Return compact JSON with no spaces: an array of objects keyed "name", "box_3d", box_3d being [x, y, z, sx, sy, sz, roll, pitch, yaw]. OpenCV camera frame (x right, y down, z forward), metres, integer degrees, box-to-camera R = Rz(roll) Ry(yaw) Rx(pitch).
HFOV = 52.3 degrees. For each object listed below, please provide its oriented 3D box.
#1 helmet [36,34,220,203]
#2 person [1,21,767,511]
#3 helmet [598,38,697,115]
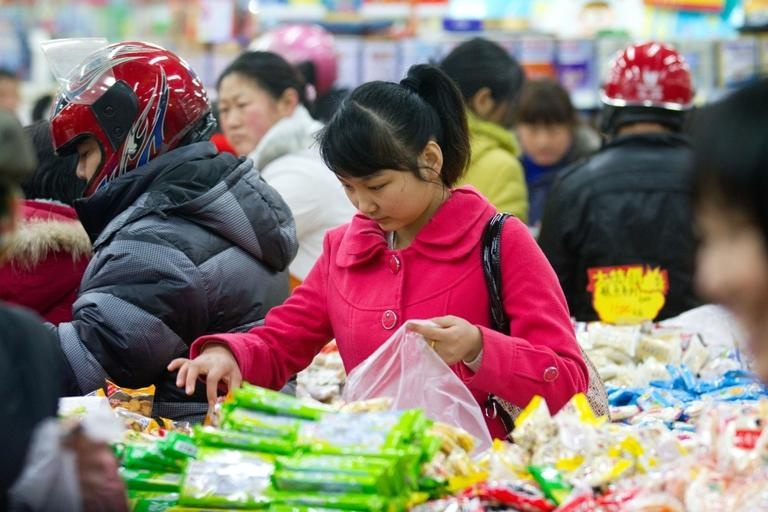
[{"name":"helmet","box_3d":[-0.969,-0.559,2.991,0.591,0.601,0.450,-16,12,-15]},{"name":"person","box_3d":[-0.403,0.048,3.059,1.428,1.728,0.408,1,-33,-1]},{"name":"helmet","box_3d":[1.341,-0.886,3.904,0.397,0.453,0.547,6,9,22]}]
